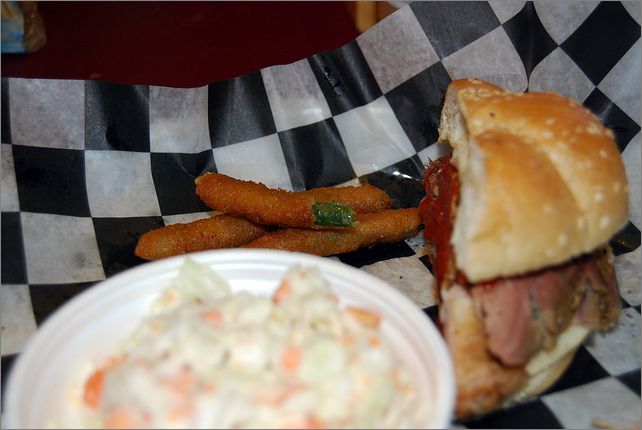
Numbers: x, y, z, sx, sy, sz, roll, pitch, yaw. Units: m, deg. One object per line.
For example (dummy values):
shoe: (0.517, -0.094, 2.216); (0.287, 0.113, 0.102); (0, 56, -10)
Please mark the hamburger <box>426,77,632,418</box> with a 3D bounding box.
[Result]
hamburger: (0.732, 0.106, 2.092); (0.708, 0.480, 1.312); (5, 84, -32)
